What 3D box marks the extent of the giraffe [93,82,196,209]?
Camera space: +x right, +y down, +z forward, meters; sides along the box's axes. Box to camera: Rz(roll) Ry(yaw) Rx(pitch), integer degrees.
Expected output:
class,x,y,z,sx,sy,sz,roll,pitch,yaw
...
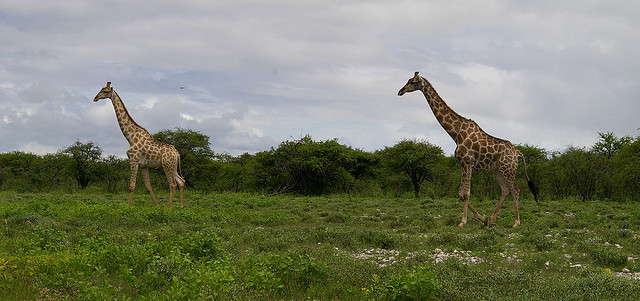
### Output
class,x,y,z,sx,sy,sz,roll,pitch,yaw
giraffe,-11.976,-0.124,37.555,5.210,7.575,1.861,4,12,14
